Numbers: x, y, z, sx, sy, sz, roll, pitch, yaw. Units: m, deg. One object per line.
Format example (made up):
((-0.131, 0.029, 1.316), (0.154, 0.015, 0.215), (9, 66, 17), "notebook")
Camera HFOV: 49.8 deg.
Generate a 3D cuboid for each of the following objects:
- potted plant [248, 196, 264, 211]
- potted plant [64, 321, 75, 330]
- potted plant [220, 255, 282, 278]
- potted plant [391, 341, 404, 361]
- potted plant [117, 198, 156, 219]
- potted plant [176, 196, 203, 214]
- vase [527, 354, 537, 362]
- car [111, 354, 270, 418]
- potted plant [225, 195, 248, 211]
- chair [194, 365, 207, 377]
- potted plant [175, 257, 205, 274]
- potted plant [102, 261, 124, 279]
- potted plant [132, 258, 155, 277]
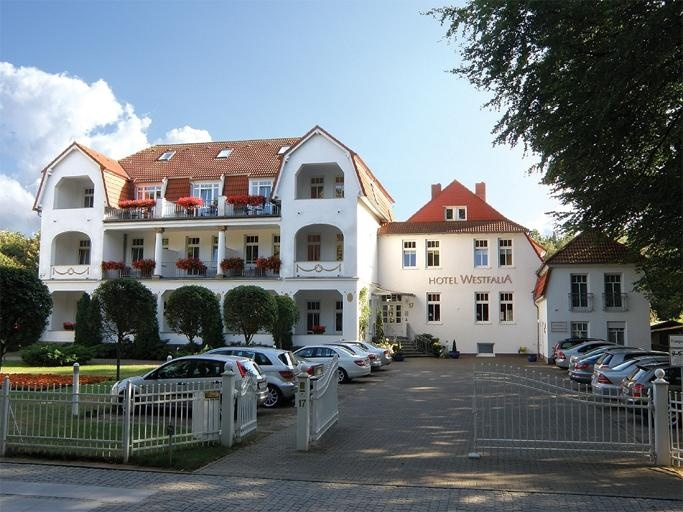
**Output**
((-5.064, -3.098, 43.175), (0.857, 0.649, 0.888), (-1, -3, 40), "potted plant")
((-16.763, 4.356, 44.921), (0.703, 0.484, 0.670), (0, -7, 0), "potted plant")
((-5.317, 0.653, 42.585), (3.426, 1.086, 1.122), (-1, 0, -3), "potted plant")
((3.311, 5.745, 43.653), (0.812, 1.126, 0.623), (7, -12, -32), "potted plant")
((-12.534, -2.835, 44.857), (1.612, 0.731, 1.544), (0, -4, -13), "potted plant")
((-9.161, -3.106, 44.018), (1.131, 0.811, 1.121), (1, -4, -1), "potted plant")
((11.262, 6.044, 43.083), (0.494, 0.420, 0.489), (-1, -9, -2), "vase")
((-4.368, 3.543, 20.944), (4.155, 1.492, 2.086), (0, -11, 6), "car")
((-6.231, -3.195, 43.481), (1.008, 0.513, 0.986), (1, -5, -10), "potted plant")
((-4.187, 3.419, 21.841), (0.432, 0.411, 0.244), (-1, -5, 9), "chair")
((-9.051, 0.632, 44.105), (1.224, 0.812, 1.036), (5, 0, -31), "potted plant")
((-13.941, 0.855, 44.545), (1.293, 1.052, 0.763), (-1, 0, -31), "potted plant")
((-11.945, 0.771, 44.311), (1.188, 1.145, 1.096), (1, 1, -6), "potted plant")
